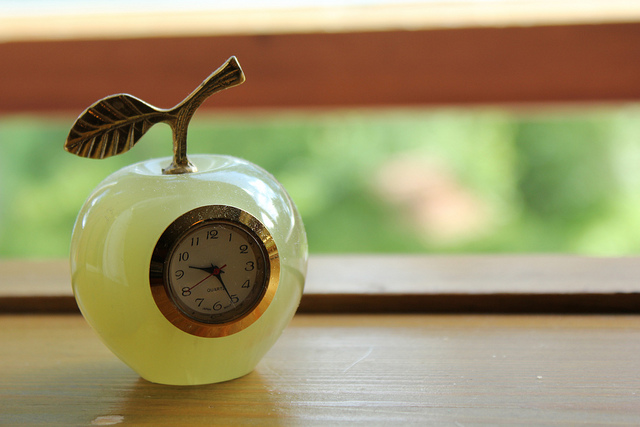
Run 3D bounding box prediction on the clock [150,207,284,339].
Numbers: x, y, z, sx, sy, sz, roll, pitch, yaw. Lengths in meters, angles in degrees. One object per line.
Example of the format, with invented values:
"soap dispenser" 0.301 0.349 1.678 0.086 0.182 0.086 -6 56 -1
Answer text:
"clock" -0.174 0.096 1.370 0.212 0.168 0.151 0 47 -10
